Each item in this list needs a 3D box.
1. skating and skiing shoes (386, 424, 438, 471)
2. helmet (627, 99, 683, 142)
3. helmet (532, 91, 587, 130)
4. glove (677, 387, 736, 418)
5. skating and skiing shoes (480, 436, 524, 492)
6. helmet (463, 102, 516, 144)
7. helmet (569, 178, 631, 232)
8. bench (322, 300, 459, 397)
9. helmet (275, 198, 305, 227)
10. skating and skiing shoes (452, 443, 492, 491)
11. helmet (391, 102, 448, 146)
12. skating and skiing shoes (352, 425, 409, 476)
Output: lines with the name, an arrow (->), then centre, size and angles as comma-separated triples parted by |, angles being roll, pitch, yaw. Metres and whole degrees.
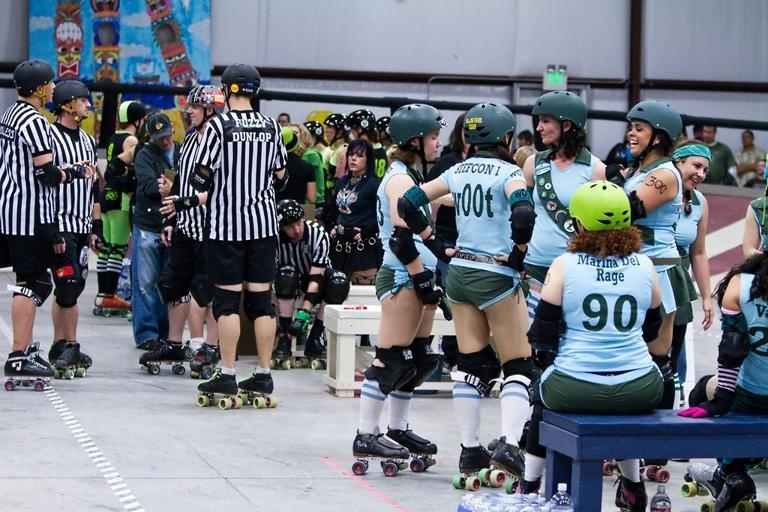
skating and skiing shoes -> 0.088, 1.296, 6.518 | 0.514, 0.241, 0.156 | 12, -2, 4
helmet -> 1.811, -0.899, 6.462 | 0.329, 0.262, 0.253 | 8, 7, 8
helmet -> 1.169, -0.963, 6.439 | 0.381, 0.284, 0.288 | 2, 6, -18
glove -> 1.840, 0.834, 5.483 | 0.265, 0.120, 0.167 | -2, 0, -3
skating and skiing shoes -> 0.806, 1.306, 6.237 | 0.187, 0.238, 0.549 | 10, -14, 34
helmet -> 0.695, -0.876, 6.263 | 0.232, 0.238, 0.311 | 7, 24, 43
helmet -> 1.208, -0.297, 5.433 | 0.237, 0.244, 0.317 | 0, 20, -5
bench -> 0.153, 0.841, 8.598 | 1.253, 0.798, 0.719 | 1, -8, 6
helmet -> -0.908, -0.410, 9.116 | 0.201, 0.201, 0.260 | -13, -12, -16
skating and skiing shoes -> 0.612, 1.339, 6.246 | 0.212, 0.261, 0.433 | -2, -1, 40
helmet -> 0.218, -0.888, 6.484 | 0.380, 0.291, 0.312 | -1, 14, -11
skating and skiing shoes -> -0.026, 1.295, 6.342 | 0.358, 0.255, 0.239 | 0, -1, 3
